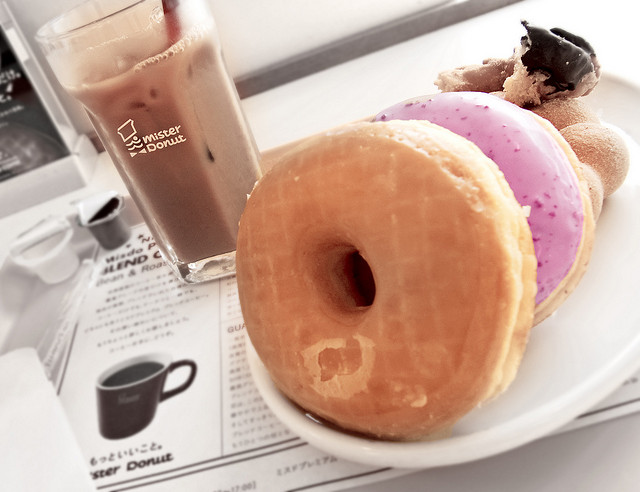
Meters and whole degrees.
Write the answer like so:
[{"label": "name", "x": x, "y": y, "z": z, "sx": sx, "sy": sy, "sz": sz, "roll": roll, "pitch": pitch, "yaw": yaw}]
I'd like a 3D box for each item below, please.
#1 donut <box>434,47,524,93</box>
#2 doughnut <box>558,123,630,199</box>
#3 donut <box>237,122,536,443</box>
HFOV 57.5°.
[{"label": "donut", "x": 0.225, "y": -0.249, "z": 0.818, "sx": 0.097, "sy": 0.048, "sz": 0.026, "roll": -15, "pitch": 13, "yaw": 2}, {"label": "doughnut", "x": 0.362, "y": -0.127, "z": 0.797, "sx": 0.117, "sy": 0.119, "sz": 0.039, "roll": 27, "pitch": 88, "yaw": 21}, {"label": "donut", "x": 0.066, "y": 0.028, "z": 0.703, "sx": 0.373, "sy": 0.369, "sz": 0.129, "roll": 0, "pitch": -2, "yaw": 33}]
